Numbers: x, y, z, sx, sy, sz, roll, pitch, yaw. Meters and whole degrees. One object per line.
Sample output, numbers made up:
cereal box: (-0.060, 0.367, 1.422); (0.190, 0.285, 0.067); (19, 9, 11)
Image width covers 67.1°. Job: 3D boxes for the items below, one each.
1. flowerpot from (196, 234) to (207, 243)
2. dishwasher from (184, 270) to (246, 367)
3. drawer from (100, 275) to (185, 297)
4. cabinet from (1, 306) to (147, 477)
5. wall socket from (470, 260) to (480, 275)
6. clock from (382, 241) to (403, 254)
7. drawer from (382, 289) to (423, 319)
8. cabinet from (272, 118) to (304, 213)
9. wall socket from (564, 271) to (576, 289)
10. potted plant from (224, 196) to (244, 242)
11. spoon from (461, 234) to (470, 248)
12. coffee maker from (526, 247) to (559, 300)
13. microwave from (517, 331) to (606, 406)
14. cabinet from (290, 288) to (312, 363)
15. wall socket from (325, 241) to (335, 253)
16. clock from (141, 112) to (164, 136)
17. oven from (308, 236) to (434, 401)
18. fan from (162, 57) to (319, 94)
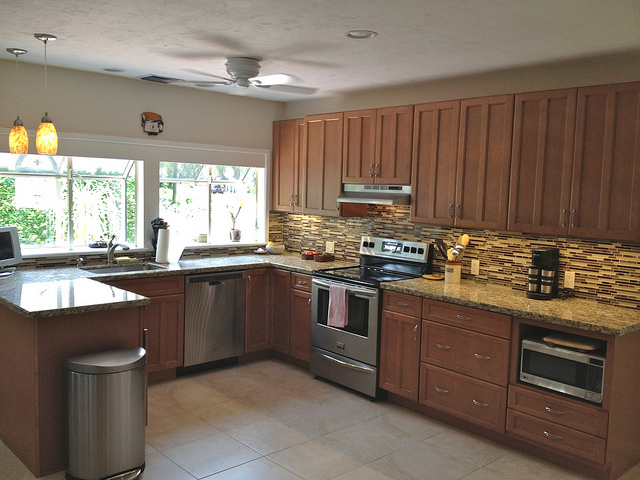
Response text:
flowerpot: (-1.434, -0.018, 5.828); (0.112, 0.067, 0.109); (7, 9, 33)
dishwasher: (-1.118, 0.810, 5.181); (0.761, 0.959, 0.092); (-7, 14, -39)
drawer: (-1.636, 0.355, 4.751); (0.463, 0.087, 0.229); (0, 2, -39)
cabinet: (-2.014, 1.037, 4.275); (1.283, 1.458, 1.235); (-2, 4, -32)
wall socket: (1.511, 0.263, 4.707); (0.086, 0.145, 0.017); (11, 14, 41)
clock: (0.771, 0.085, 5.190); (0.232, 0.103, 0.144); (7, -1, 32)
drawer: (0.753, 0.573, 4.416); (0.348, 0.145, 0.248); (4, 4, 45)
cabinet: (-0.417, -0.931, 6.078); (0.484, 1.096, 0.321); (10, 13, 43)
wall socket: (2.139, 0.341, 4.145); (0.092, 0.145, 0.036); (7, 12, 27)
potted plant: (-1.079, -0.267, 6.193); (0.265, 0.565, 0.256); (-3, 12, -24)
spoon: (1.408, 0.006, 4.697); (0.075, 0.109, 0.030); (7, -4, 17)
coffee maker: (1.877, 0.280, 4.062); (0.210, 0.392, 0.275); (-6, 11, -35)
microwave: (1.782, 0.952, 3.573); (0.472, 0.351, 0.619); (1, 5, -44)
cabinet: (-0.222, 0.929, 5.306); (0.303, 0.685, 0.315); (-4, 11, -39)
wall socket: (0.117, 0.086, 5.951); (0.165, 0.140, 0.022); (6, 8, 44)
clock: (-1.865, -1.276, 5.309); (0.338, 0.288, 0.056); (-3, 6, -33)
oven: (0.546, 0.713, 5.092); (1.046, 1.308, 1.005); (-9, 10, -38)
fan: (-0.654, -1.456, 4.203); (1.103, 0.175, 1.156); (14, 13, 43)
